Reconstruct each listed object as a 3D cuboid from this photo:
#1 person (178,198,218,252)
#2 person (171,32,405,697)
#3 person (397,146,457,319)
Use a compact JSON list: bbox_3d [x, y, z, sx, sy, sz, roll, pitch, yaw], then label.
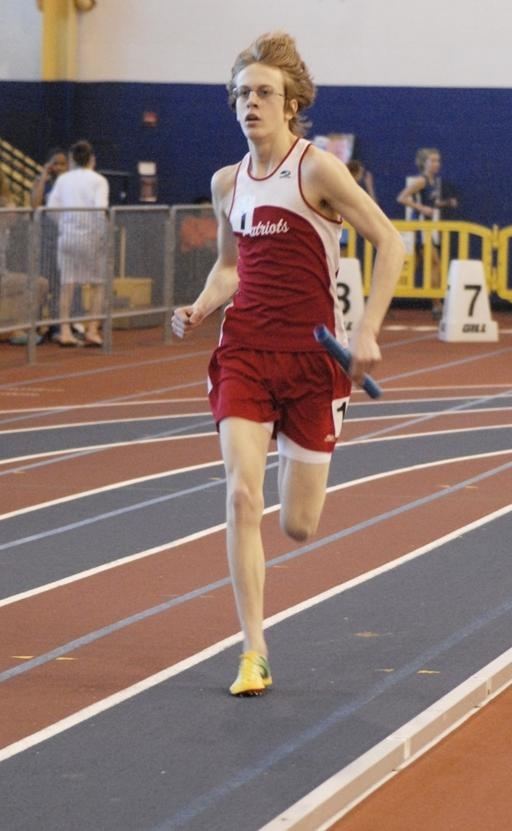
[{"bbox_3d":[-0.957,-2.852,12.415,0.197,0.737,0.755,5,12,30],"label":"person"},{"bbox_3d":[0.077,-0.184,2.451,0.609,1.833,0.731,-2,11,-10],"label":"person"},{"bbox_3d":[3.489,-3.792,17.002,1.169,3.212,0.891,-11,16,-26],"label":"person"}]
